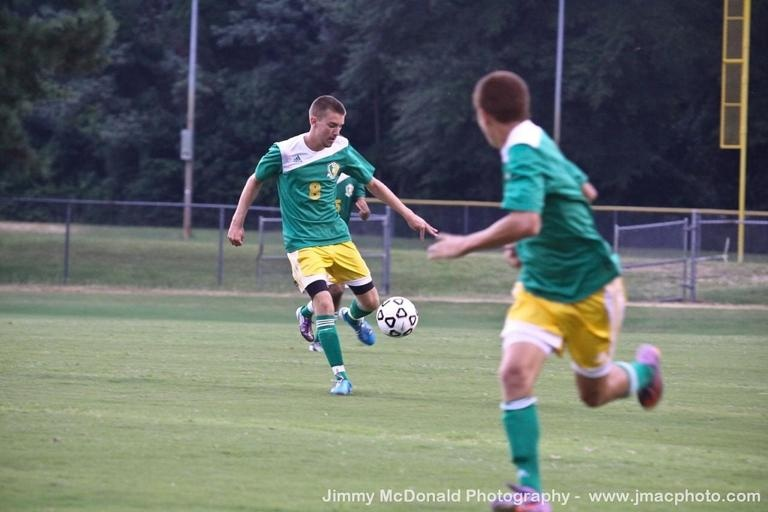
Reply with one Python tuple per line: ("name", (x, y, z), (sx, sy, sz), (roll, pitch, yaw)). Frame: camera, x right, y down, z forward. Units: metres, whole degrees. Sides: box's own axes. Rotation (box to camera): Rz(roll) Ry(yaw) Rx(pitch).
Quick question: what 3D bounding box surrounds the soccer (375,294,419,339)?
("soccer", (0.142, 0.785, 14.866), (0.487, 0.533, 0.423), (-1, 4, -2))
